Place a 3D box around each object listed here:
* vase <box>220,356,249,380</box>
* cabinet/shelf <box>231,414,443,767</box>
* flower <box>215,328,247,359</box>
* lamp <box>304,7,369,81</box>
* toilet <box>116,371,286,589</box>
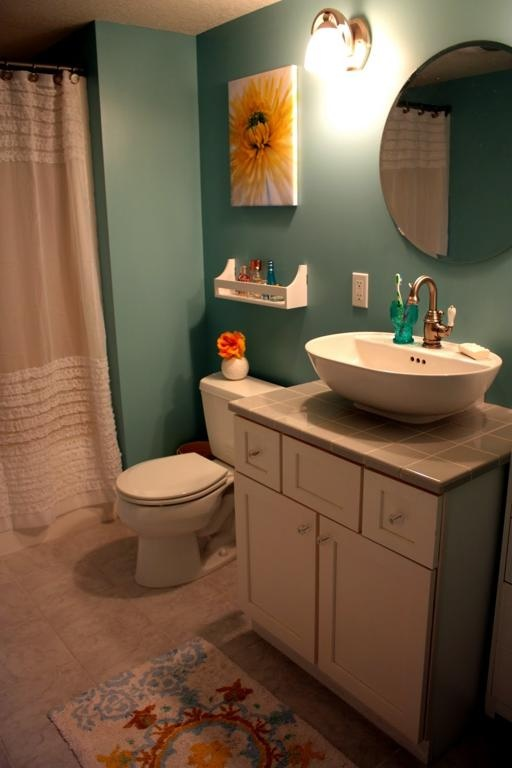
[{"bbox_3d":[-0.092,-0.062,2.431,0.093,0.092,0.093,-9,19,-29],"label":"vase"},{"bbox_3d":[0.199,0.489,1.382,0.342,0.700,0.599,-11,19,-34],"label":"cabinet/shelf"},{"bbox_3d":[-0.094,-0.158,2.392,0.093,0.110,0.144,2,14,20],"label":"flower"},{"bbox_3d":[0.210,-0.961,1.722,0.202,0.202,0.187,27,45,30],"label":"lamp"},{"bbox_3d":[-0.244,0.367,2.187,0.592,0.663,0.361,-13,22,-35],"label":"toilet"}]
